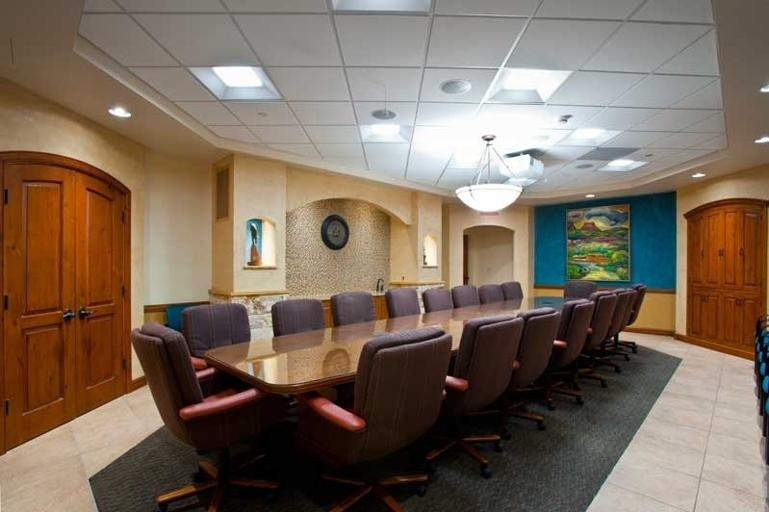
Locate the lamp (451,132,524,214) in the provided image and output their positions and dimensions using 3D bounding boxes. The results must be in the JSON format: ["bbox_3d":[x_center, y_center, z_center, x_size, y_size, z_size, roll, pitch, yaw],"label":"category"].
[{"bbox_3d":[1.549,-1.018,7.212,1.108,1.124,1.167,0,-2,42],"label":"lamp"}]

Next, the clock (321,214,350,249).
[{"bbox_3d":[-0.921,-0.452,9.087,0.117,0.639,0.668,-3,-6,41],"label":"clock"}]

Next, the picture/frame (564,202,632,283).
[{"bbox_3d":[4.447,-0.267,10.108,1.717,2.268,0.089,-2,-6,33],"label":"picture/frame"}]

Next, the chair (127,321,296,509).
[{"bbox_3d":[-1.551,1.391,4.363,1.161,1.588,0.528,-2,1,-25],"label":"chair"}]
